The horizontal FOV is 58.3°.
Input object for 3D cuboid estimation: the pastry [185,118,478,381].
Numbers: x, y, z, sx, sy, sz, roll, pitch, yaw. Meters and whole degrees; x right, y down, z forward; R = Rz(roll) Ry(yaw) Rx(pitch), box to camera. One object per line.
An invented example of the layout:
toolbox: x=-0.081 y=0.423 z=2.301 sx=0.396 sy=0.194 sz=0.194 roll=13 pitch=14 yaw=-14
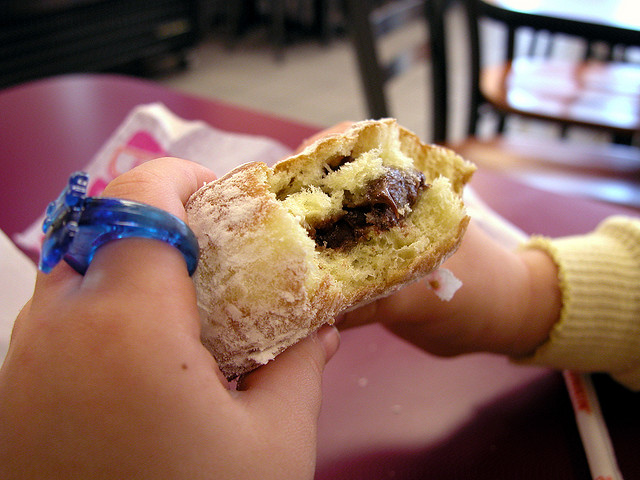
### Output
pastry: x=0.054 y=-0.002 z=1.241 sx=0.649 sy=0.339 sz=0.375 roll=-25 pitch=43 yaw=-29
